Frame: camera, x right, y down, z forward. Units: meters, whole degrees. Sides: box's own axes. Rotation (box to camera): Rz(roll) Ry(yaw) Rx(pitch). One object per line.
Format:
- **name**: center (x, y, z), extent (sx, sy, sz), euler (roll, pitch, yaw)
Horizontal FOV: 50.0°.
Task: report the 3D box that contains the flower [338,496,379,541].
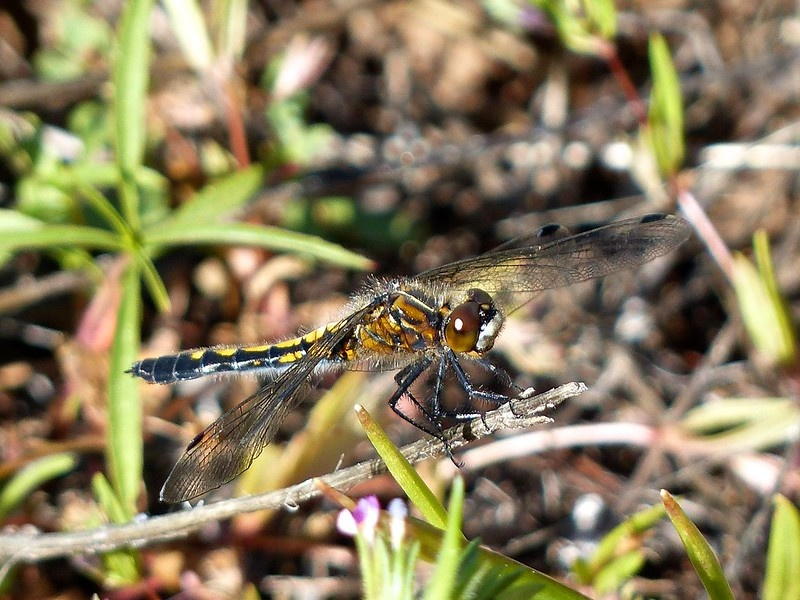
- **flower**: center (-0.179, 0.984, 3.907), extent (0.184, 0.143, 0.182), euler (12, 83, 2)
